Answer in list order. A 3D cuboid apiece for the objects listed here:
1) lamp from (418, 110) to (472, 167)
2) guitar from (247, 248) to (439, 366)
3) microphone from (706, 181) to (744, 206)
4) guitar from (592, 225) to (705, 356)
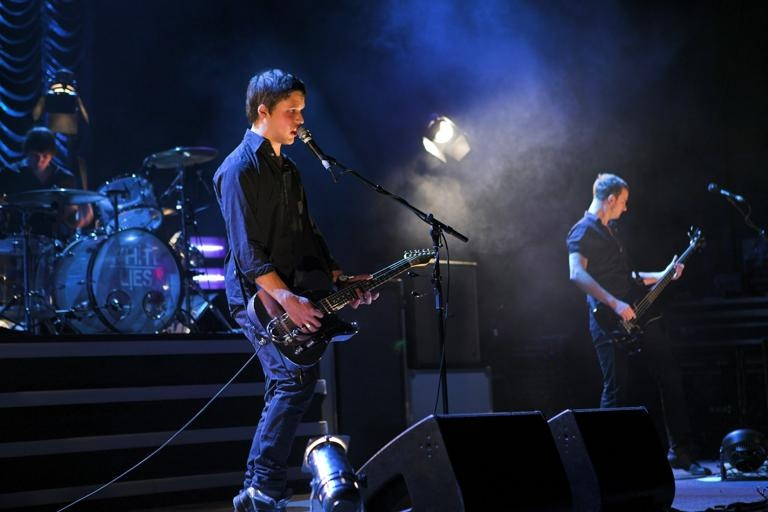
[{"bbox_3d":[0.619,-1.134,6.502,0.470,0.376,0.329,0,-8,-6],"label":"lamp"},{"bbox_3d":[-0.258,0.261,4.154,1.187,0.481,0.141,-30,9,-37],"label":"guitar"},{"bbox_3d":[3.332,-0.602,6.424,0.436,0.151,0.133,13,-37,-11],"label":"microphone"},{"bbox_3d":[2.381,0.265,6.164,0.643,1.611,0.161,47,-25,-12],"label":"guitar"}]
